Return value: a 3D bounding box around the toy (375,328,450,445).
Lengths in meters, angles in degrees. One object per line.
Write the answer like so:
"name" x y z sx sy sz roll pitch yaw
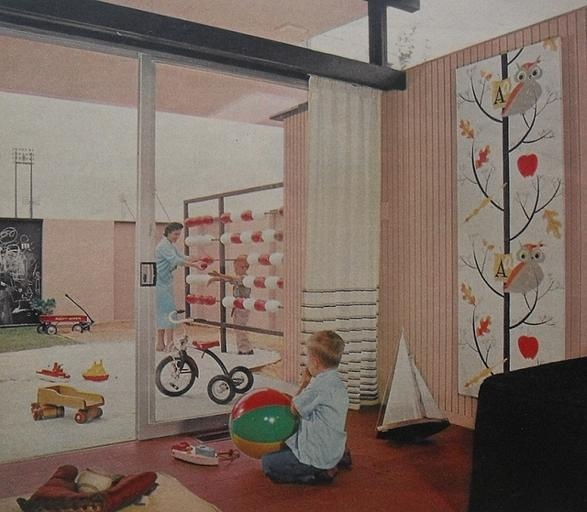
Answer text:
"toy" 0.608 0.850 4.034 0.501 0.815 0.330 -5 -7 -5

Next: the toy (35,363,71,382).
"toy" -1.325 0.645 3.803 0.200 0.138 0.064 0 3 -24

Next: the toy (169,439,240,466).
"toy" -0.470 1.078 3.750 0.368 0.099 0.235 -2 9 -21

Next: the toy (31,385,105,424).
"toy" -1.293 0.807 3.867 0.311 0.182 0.200 3 0 19
